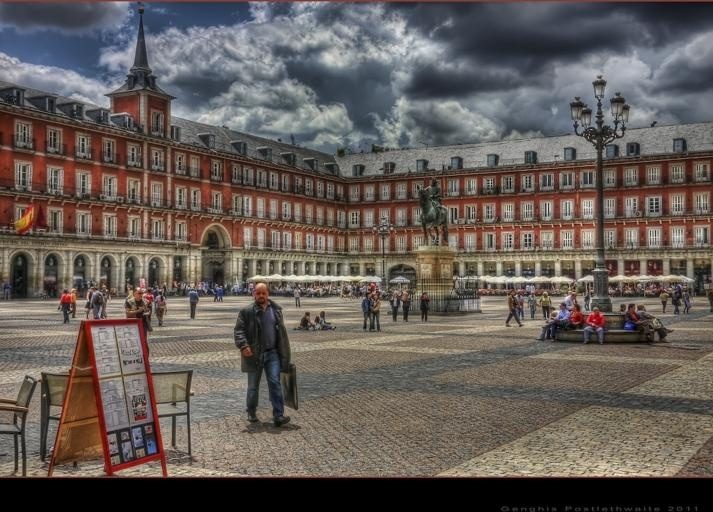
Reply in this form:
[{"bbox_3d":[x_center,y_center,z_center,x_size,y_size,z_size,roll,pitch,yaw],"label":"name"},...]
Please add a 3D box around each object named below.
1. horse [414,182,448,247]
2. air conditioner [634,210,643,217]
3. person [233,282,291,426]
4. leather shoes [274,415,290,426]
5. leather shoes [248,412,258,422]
[{"bbox_3d":[3.495,-1.954,36.164,1.666,4.138,1.530,1,4,16],"label":"horse"},{"bbox_3d":[25.099,-3.759,69.998,0.903,0.608,0.480,1,2,27],"label":"air conditioner"},{"bbox_3d":[-1.302,1.455,11.548,0.932,1.974,0.995,0,-3,-30],"label":"person"},{"bbox_3d":[-1.064,2.343,11.219,0.231,0.152,0.101,-8,6,-4],"label":"leather shoes"},{"bbox_3d":[-1.503,2.336,11.470,0.131,0.106,0.221,-3,-1,-6],"label":"leather shoes"}]
